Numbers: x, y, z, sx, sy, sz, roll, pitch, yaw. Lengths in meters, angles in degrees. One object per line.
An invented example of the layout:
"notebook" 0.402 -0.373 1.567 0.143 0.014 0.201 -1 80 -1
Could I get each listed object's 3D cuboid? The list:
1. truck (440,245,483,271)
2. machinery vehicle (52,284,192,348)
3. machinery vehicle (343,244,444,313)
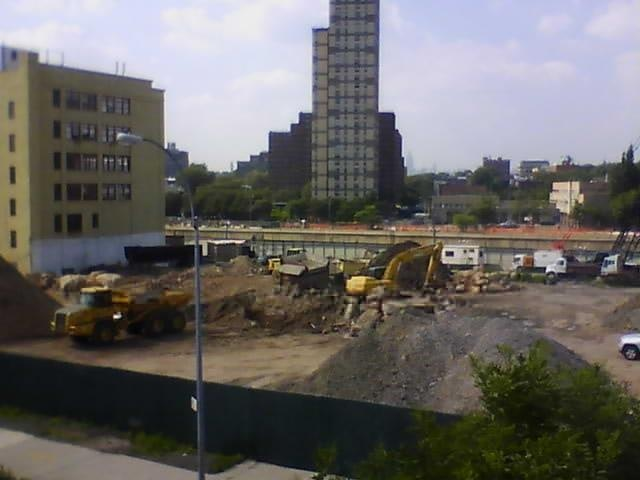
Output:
"truck" 13.987 1.586 91.588 4.216 2.294 3.214 -3 4 -3
"machinery vehicle" -14.395 5.626 65.338 7.185 4.560 7.449 -3 0 32
"machinery vehicle" 5.979 2.591 73.088 6.005 4.118 16.799 -2 4 15
